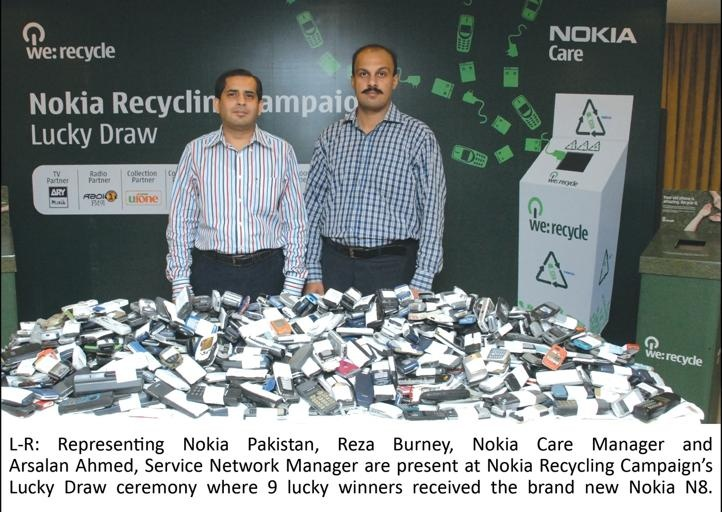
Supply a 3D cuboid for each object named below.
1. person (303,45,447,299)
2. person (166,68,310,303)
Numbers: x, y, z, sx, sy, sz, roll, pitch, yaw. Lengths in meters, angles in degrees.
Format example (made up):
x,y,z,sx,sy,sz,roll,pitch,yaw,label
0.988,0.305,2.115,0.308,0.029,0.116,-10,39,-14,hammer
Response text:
x,y,z,sx,sy,sz,roll,pitch,yaw,label
0.057,-0.483,3.306,0.806,1.380,0.316,1,8,11,person
-0.670,-0.387,3.152,0.738,1.212,0.315,-1,7,-7,person
